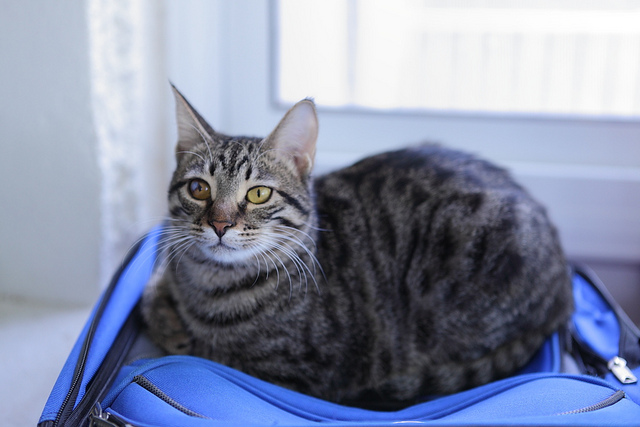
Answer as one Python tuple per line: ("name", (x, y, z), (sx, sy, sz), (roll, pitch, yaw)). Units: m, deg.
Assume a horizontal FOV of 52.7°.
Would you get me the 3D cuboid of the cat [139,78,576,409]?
("cat", (0.084, 0.043, 1.742), (0.992, 0.724, 0.746), (-5, 8, -26))
